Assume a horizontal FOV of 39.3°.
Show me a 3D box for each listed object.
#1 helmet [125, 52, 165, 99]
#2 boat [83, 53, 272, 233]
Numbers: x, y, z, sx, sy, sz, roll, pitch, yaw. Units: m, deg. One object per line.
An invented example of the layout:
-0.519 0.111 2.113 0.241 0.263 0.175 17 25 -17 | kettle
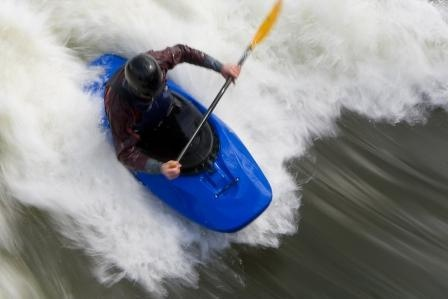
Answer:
-1.059 -0.966 8.456 0.419 0.527 0.581 -36 34 -9 | helmet
-0.728 -0.043 9.685 1.591 3.275 0.988 -42 3 -12 | boat
